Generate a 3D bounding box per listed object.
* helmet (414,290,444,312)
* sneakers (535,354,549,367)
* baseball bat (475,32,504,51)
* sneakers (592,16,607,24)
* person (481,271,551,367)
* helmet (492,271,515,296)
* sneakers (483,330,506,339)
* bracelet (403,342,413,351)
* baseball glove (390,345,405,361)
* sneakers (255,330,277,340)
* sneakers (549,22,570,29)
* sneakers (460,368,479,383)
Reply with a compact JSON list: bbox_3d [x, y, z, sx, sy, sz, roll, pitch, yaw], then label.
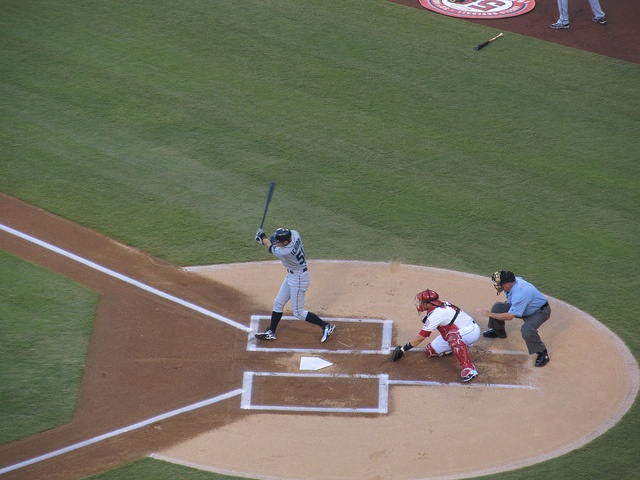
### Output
[{"bbox_3d":[1.956,1.068,20.099,0.514,0.316,0.367,7,16,25],"label":"helmet"},{"bbox_3d":[3.966,2.136,20.090,0.185,0.118,0.304,5,24,22],"label":"sneakers"},{"bbox_3d":[4.029,-4.655,26.695,1.173,0.147,0.144,-23,31,-26],"label":"baseball bat"},{"bbox_3d":[6.774,-5.256,27.170,0.342,0.148,0.116,17,67,25],"label":"sneakers"},{"bbox_3d":[3.544,1.496,20.371,1.314,1.378,1.123,-13,43,12],"label":"person"},{"bbox_3d":[3.235,0.726,20.083,0.535,0.363,0.367,1,11,8],"label":"helmet"},{"bbox_3d":[3.210,1.717,20.585,0.462,0.145,0.123,4,41,4],"label":"sneakers"},{"bbox_3d":[1.591,1.900,20.157,0.186,0.119,0.108,-32,25,36],"label":"bracelet"},{"bbox_3d":[1.412,2.031,20.257,0.296,0.227,0.211,1,14,-17],"label":"baseball glove"},{"bbox_3d":[-0.963,1.737,20.626,0.462,0.145,0.133,2,17,-2],"label":"sneakers"},{"bbox_3d":[5.759,-5.090,27.029,0.464,0.168,0.130,4,62,5],"label":"sneakers"},{"bbox_3d":[2.623,2.376,19.877,0.223,0.126,0.315,-9,16,42],"label":"sneakers"}]
